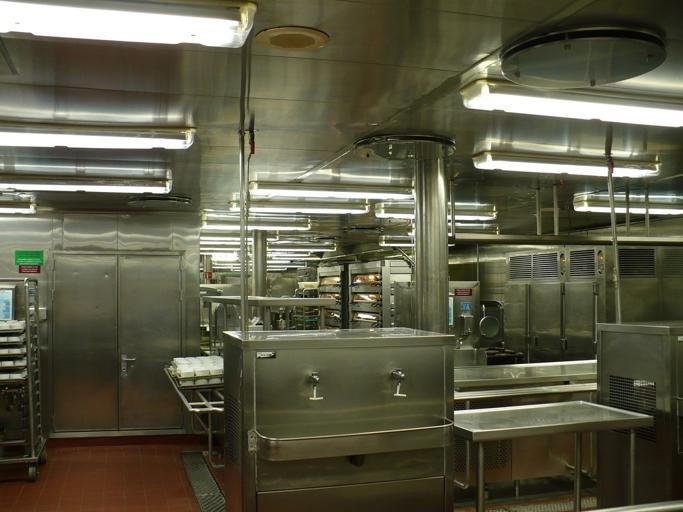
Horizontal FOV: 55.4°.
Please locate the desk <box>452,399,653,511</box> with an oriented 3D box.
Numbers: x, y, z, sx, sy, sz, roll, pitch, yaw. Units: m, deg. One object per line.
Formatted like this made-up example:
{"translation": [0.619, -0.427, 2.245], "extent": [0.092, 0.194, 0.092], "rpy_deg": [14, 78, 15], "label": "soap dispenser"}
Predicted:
{"translation": [1.552, 1.563, 4.851], "extent": [1.621, 0.845, 0.673], "rpy_deg": [-2, 1, -22], "label": "desk"}
